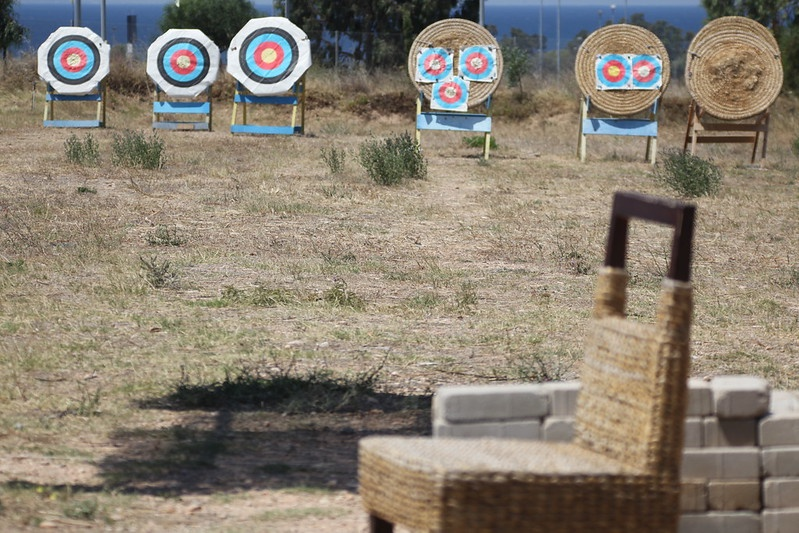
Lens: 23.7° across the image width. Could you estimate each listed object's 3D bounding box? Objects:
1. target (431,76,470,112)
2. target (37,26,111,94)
[{"bbox_3d":[1.189,-3.953,41.859,0.839,0.197,0.818,-6,-16,16],"label":"target"},{"bbox_3d":[-7.594,-4.873,44.885,1.653,1.561,0.899,-1,7,-10],"label":"target"}]
